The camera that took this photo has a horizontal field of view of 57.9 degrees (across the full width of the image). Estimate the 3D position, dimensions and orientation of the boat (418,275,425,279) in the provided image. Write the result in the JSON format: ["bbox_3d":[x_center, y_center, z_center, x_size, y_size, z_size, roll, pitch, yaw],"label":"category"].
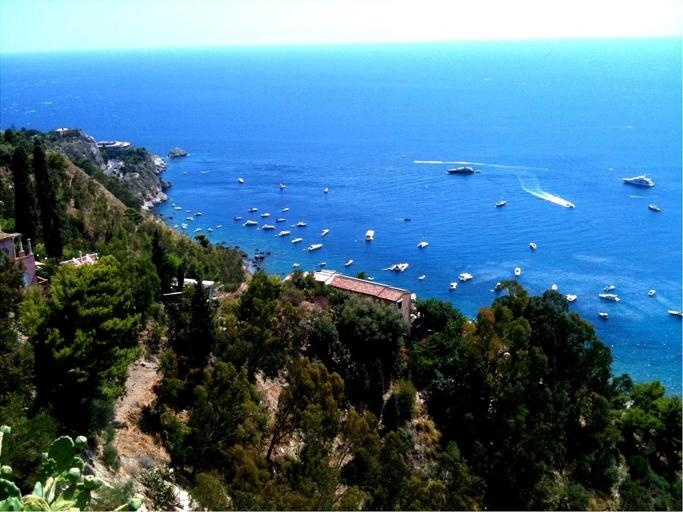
[{"bbox_3d":[12.485,3.354,96.309,0.386,0.340,1.913,30,29,21],"label":"boat"}]

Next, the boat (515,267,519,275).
[{"bbox_3d":[27.933,2.461,98.288,0.537,0.601,1.678,0,16,7],"label":"boat"}]

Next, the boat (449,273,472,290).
[{"bbox_3d":[17.860,3.768,93.489,1.755,1.166,4.648,21,31,28],"label":"boat"}]
